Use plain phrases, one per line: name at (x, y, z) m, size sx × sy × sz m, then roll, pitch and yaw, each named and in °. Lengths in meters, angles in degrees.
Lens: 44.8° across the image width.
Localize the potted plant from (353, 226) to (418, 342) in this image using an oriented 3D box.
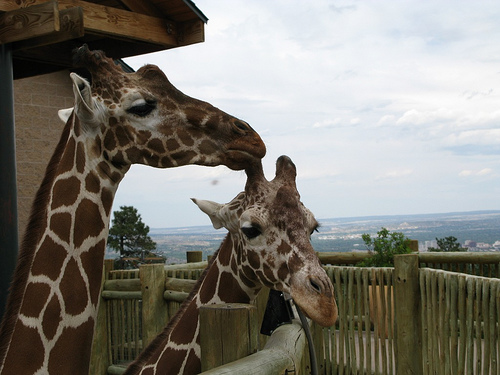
potted plant at (2.931, 1.758, 12.466) m, size 1.039 × 1.623 × 1.070 m, roll -1°, pitch -22°, yaw 0°

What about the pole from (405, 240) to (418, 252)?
pole at (3.164, 1.107, 11.639) m, size 0.167 × 0.181 × 0.176 m, roll 4°, pitch -11°, yaw -12°

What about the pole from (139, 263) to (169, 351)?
pole at (-1.405, 1.741, 8.712) m, size 0.233 × 1.196 × 0.283 m, roll -11°, pitch -21°, yaw 29°

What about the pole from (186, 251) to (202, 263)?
pole at (-0.986, 1.214, 10.827) m, size 0.195 × 0.242 × 0.207 m, roll 0°, pitch -6°, yaw -4°

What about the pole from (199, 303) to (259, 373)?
pole at (-0.140, 1.039, 4.428) m, size 0.411 × 0.535 × 0.455 m, roll 0°, pitch -6°, yaw -1°
